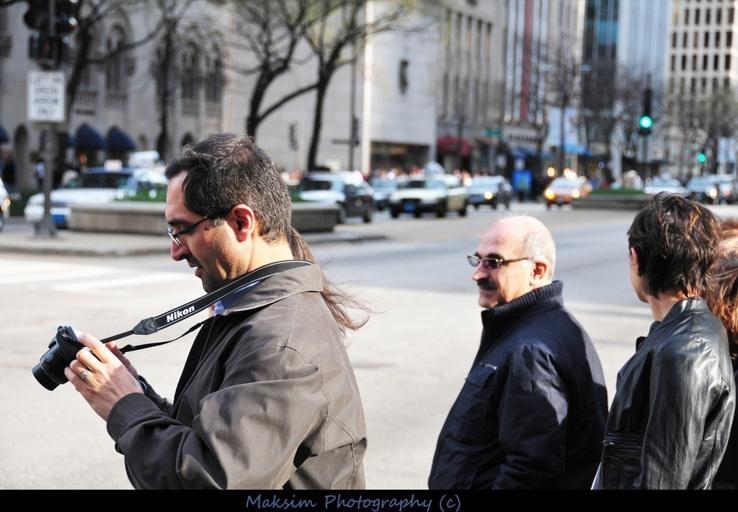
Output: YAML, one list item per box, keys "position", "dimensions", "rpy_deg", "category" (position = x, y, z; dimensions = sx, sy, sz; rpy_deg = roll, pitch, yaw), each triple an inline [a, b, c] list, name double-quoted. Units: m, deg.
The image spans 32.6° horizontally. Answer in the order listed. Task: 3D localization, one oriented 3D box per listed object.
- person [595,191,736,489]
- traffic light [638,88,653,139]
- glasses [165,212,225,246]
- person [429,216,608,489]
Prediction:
- position: [1.431, 0.424, 6.107]
  dimensions: [0.653, 1.444, 0.458]
  rpy_deg: [0, 3, 11]
  category: "person"
- position: [1.749, -0.912, 7.912]
  dimensions: [0.091, 0.293, 0.178]
  rpy_deg: [-1, 3, 4]
  category: "traffic light"
- position: [-0.825, -0.144, 5.896]
  dimensions: [0.192, 0.060, 0.184]
  rpy_deg: [-30, 6, -8]
  category: "glasses"
- position: [0.807, 0.510, 6.765]
  dimensions: [0.926, 1.436, 0.770]
  rpy_deg: [0, 3, 13]
  category: "person"
